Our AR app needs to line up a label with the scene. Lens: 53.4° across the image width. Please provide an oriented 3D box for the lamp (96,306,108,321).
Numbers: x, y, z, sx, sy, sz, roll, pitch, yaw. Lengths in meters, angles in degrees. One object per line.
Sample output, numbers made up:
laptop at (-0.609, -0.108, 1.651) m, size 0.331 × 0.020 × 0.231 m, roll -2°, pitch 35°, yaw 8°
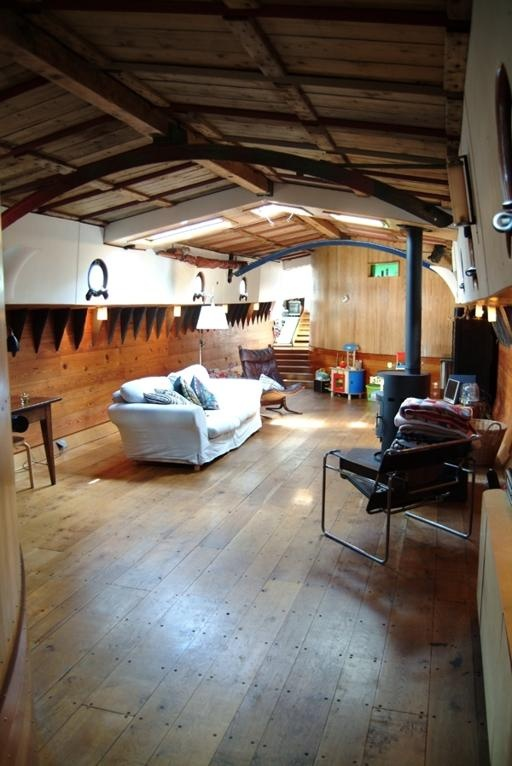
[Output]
lamp at (-1.983, -0.900, 6.629) m, size 0.165 × 0.241 × 0.170 m, roll 0°, pitch 6°, yaw 4°

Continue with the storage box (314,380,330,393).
storage box at (1.502, 0.091, 11.508) m, size 0.331 × 0.260 × 0.325 m, roll -5°, pitch -5°, yaw 22°

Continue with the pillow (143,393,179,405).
pillow at (-1.079, 0.183, 5.828) m, size 0.183 × 0.091 × 0.191 m, roll 5°, pitch 6°, yaw 8°

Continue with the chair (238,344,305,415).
chair at (0.334, -0.065, 9.254) m, size 0.987 × 1.262 × 0.834 m, roll 6°, pitch 12°, yaw 43°

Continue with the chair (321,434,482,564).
chair at (1.069, 0.766, 3.865) m, size 0.833 × 0.838 × 0.889 m, roll -4°, pitch 9°, yaw -30°
